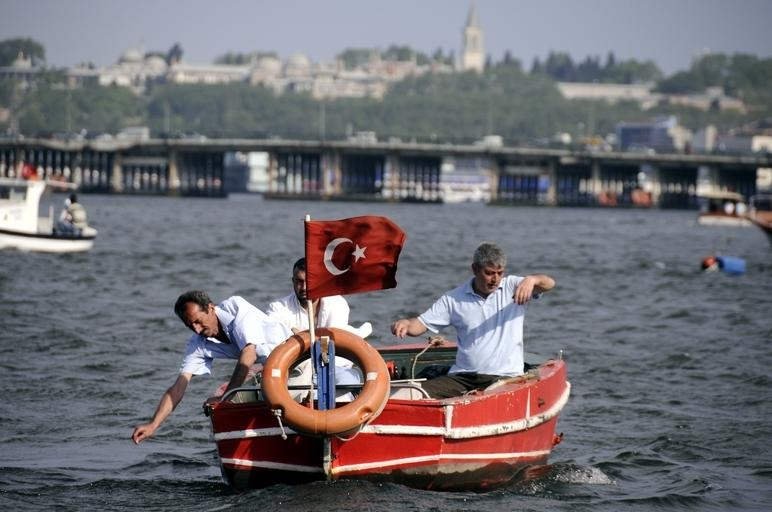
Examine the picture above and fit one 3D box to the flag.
[{"bbox_3d":[-2.324,0.114,127.599,5.523,4.934,0.502,-2,3,-6],"label":"flag"}]
